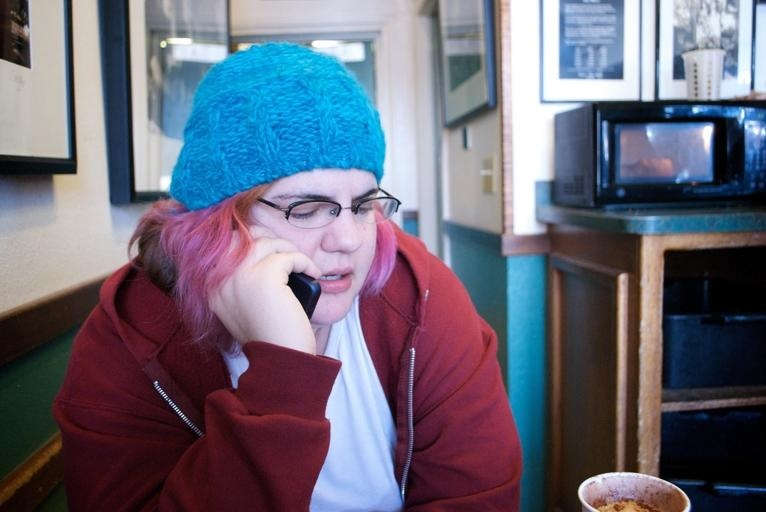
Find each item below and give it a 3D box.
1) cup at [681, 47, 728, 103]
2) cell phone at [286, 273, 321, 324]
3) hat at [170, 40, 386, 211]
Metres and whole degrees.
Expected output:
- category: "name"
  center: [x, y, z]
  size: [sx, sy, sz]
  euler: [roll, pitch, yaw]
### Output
- category: "cup"
  center: [1.056, -0.591, 2.111]
  size: [0.132, 0.164, 0.084]
  euler: [-1, 2, -1]
- category: "cell phone"
  center: [-0.196, 0.097, 1.581]
  size: [0.077, 0.114, 0.052]
  euler: [-1, 2, -15]
- category: "hat"
  center: [-0.265, -0.265, 1.664]
  size: [0.422, 0.308, 0.432]
  euler: [0, 5, 39]
